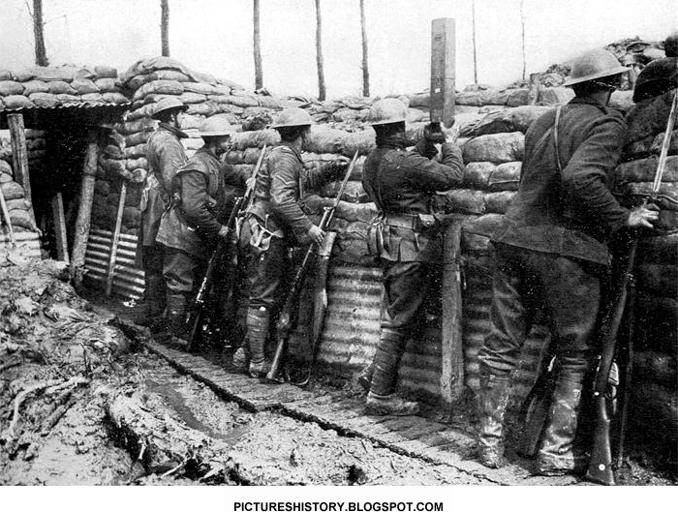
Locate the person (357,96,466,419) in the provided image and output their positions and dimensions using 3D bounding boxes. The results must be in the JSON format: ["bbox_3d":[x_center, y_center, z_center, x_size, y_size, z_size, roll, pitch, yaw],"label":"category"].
[{"bbox_3d":[0.649,-0.021,5.649,0.904,2.729,0.912,1,12,9],"label":"person"}]

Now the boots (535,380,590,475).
[{"bbox_3d":[1.647,1.291,4.605,0.247,0.917,0.263,1,-13,25],"label":"boots"}]

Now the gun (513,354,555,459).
[{"bbox_3d":[1.560,1.112,4.911,0.238,0.268,0.874,13,44,11],"label":"gun"}]

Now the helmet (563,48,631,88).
[{"bbox_3d":[1.964,-1.447,4.735,0.505,0.237,0.543,-12,14,-14],"label":"helmet"}]

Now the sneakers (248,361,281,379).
[{"bbox_3d":[-0.793,1.196,6.470,0.286,0.103,0.178,2,-4,11],"label":"sneakers"}]

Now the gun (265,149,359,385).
[{"bbox_3d":[-0.266,0.135,6.456,0.087,2.472,0.417,15,-4,43],"label":"gun"}]

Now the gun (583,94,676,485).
[{"bbox_3d":[2.066,0.256,4.403,0.333,2.600,0.837,6,14,29],"label":"gun"}]

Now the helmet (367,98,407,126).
[{"bbox_3d":[0.461,-1.308,5.700,0.283,0.204,0.268,10,20,43],"label":"helmet"}]

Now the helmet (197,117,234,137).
[{"bbox_3d":[-1.462,-1.497,7.284,0.341,0.239,0.278,-4,13,-15],"label":"helmet"}]

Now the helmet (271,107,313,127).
[{"bbox_3d":[-0.507,-1.453,6.598,0.386,0.203,0.285,-2,12,-7],"label":"helmet"}]

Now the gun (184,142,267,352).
[{"bbox_3d":[-1.309,-0.015,7.079,0.179,2.448,0.477,12,-9,28],"label":"gun"}]

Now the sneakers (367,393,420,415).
[{"bbox_3d":[0.488,1.316,5.625,0.459,0.213,0.191,0,-3,0],"label":"sneakers"}]

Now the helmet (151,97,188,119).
[{"bbox_3d":[-2.153,-1.881,7.862,0.365,0.163,0.379,-13,0,-3],"label":"helmet"}]
